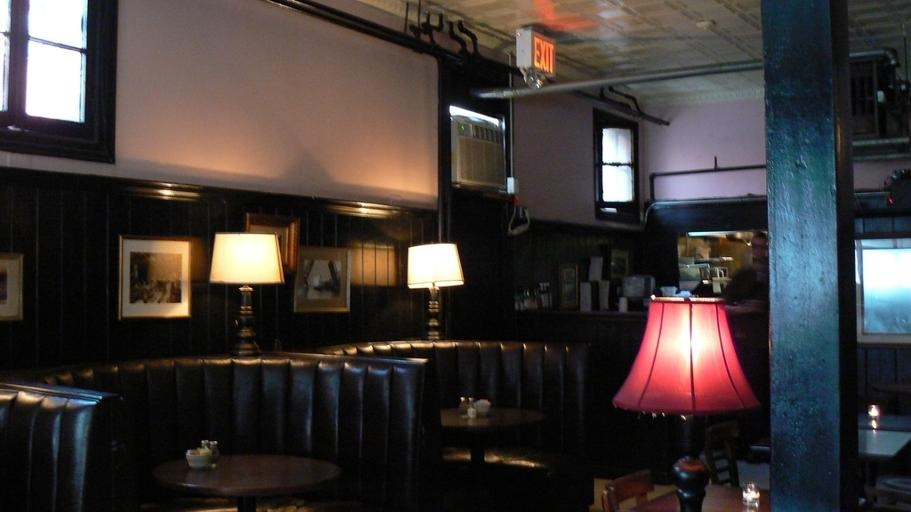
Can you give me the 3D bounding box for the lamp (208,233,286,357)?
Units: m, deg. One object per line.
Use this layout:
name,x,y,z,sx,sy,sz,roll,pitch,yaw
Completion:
lamp,-1.977,0.343,7.035,0.599,1.113,0.608,0,-1,-27

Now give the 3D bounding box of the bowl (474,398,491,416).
bowl,0.261,1.466,7.341,0.143,0.124,0.146,2,-1,0

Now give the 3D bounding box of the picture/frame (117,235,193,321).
picture/frame,-2.760,0.191,6.864,0.863,0.913,0.073,1,-6,-38

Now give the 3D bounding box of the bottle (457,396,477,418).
bottle,0.125,1.486,7.422,0.194,0.315,0.193,-1,-4,0

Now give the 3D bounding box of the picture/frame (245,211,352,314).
picture/frame,-1.625,0.059,7.614,0.086,0.867,1.114,-8,-11,44

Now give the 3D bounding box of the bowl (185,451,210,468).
bowl,-1.983,1.561,5.827,0.154,0.083,0.145,1,-3,0

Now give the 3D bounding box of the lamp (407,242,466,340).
lamp,-0.247,0.384,8.518,0.585,1.092,0.788,0,-1,-6

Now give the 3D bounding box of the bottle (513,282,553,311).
bottle,1.066,0.539,10.298,0.303,0.363,0.779,-1,-1,26

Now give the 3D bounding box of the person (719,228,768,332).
person,3.549,0.272,9.273,0.443,1.242,0.969,0,13,15
